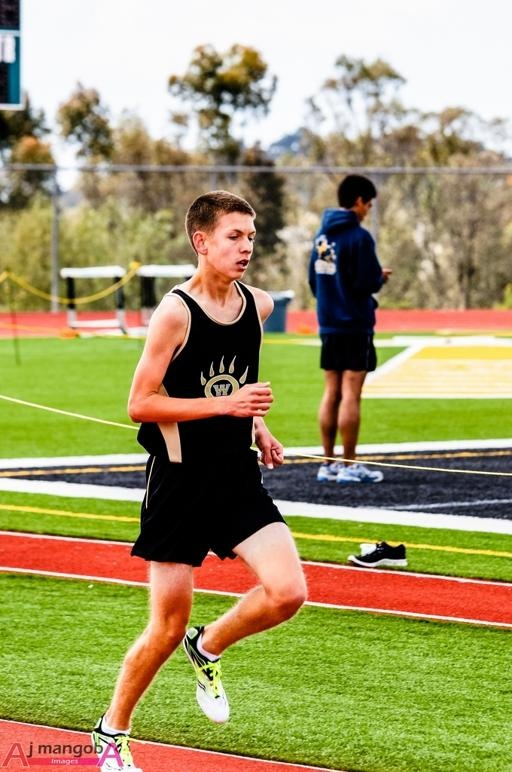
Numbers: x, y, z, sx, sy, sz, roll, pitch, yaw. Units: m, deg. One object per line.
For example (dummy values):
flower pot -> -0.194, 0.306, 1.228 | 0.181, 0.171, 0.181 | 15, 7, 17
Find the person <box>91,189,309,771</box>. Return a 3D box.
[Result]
person -> -0.147, 0.235, 3.262 | 0.547, 1.531, 0.542 | 2, 6, -8

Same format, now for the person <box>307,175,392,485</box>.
person -> 0.607, -0.350, 7.114 | 0.568, 1.782, 0.592 | -1, 5, -27
